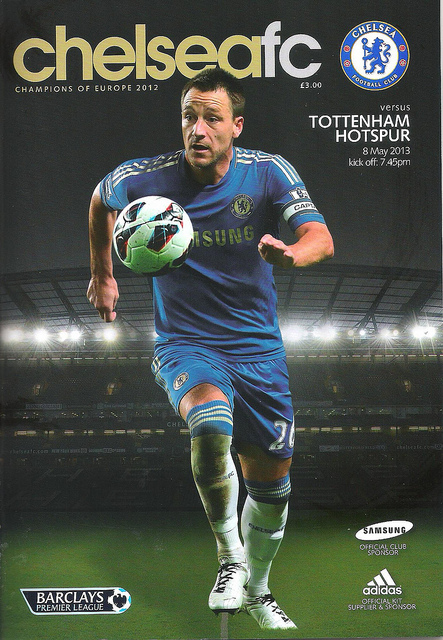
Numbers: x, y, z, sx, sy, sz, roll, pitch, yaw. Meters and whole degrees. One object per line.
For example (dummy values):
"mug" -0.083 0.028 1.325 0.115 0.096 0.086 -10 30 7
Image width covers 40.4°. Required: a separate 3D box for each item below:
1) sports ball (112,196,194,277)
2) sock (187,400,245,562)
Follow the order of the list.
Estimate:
"sports ball" -0.268 -0.361 2.840 0.379 0.398 0.337 -1 -19 -2
"sock" -0.024 0.718 2.663 0.244 0.768 0.155 -2 9 -6
